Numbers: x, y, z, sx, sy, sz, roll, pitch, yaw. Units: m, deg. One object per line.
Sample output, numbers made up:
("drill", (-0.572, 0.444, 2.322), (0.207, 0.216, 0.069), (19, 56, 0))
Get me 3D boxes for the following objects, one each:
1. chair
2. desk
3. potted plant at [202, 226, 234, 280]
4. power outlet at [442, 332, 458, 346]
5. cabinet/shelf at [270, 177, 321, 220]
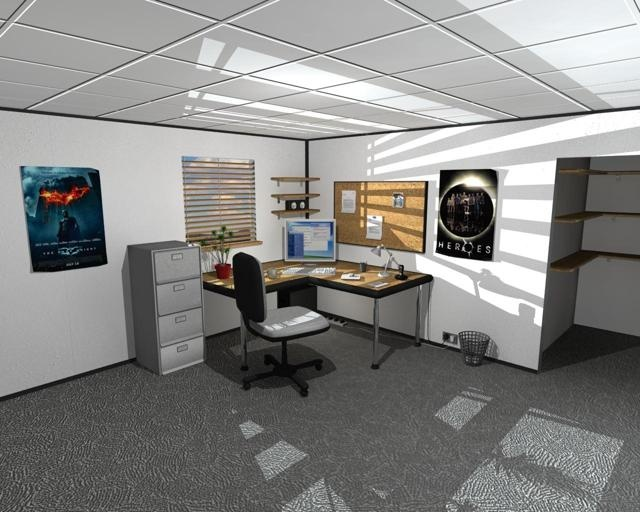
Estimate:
("chair", (-0.376, 0.592, 4.043), (0.834, 1.358, 0.729), (-4, 15, -12))
("desk", (0.151, 0.391, 5.021), (1.735, 0.716, 1.542), (4, 8, 41))
("potted plant", (-1.194, 0.023, 5.079), (0.225, 0.531, 0.346), (-30, -22, 29))
("power outlet", (1.506, 0.947, 4.880), (0.179, 0.161, 0.095), (7, 11, 41))
("cabinet/shelf", (-0.334, -0.803, 5.798), (0.713, 0.599, 0.290), (-14, 20, -43))
